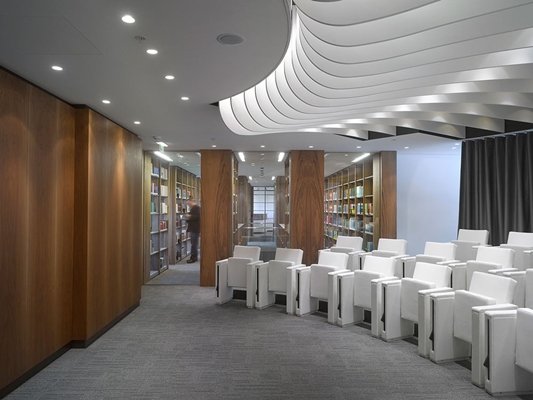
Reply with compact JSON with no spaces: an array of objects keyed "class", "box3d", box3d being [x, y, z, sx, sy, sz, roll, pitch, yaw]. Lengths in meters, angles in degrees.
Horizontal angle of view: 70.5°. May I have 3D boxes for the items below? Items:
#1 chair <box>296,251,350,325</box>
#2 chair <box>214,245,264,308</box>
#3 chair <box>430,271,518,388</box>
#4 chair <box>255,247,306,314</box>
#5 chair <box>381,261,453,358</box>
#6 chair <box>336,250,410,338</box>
[{"class":"chair","box3d":[1.135,1.625,7.653,1.065,1.750,1.115,4,-5,-40]},{"class":"chair","box3d":[-0.561,1.633,8.240,0.864,1.302,0.782,3,-3,9]},{"class":"chair","box3d":[2.851,1.715,5.206,0.720,1.340,0.941,2,-1,-14]},{"class":"chair","box3d":[0.314,1.653,7.825,0.859,1.318,0.761,3,-3,15]},{"class":"chair","box3d":[2.438,1.702,6.050,0.792,1.347,0.937,-2,4,-35]},{"class":"chair","box3d":[1.827,1.684,6.779,0.812,1.307,0.985,1,-1,-28]}]
